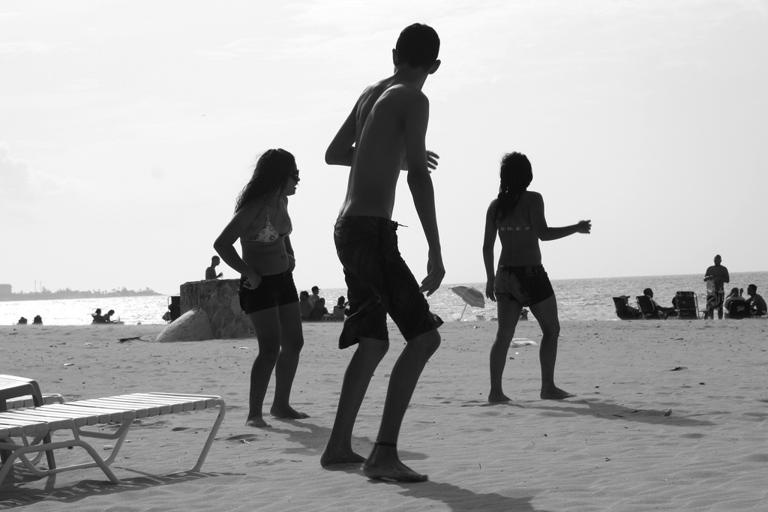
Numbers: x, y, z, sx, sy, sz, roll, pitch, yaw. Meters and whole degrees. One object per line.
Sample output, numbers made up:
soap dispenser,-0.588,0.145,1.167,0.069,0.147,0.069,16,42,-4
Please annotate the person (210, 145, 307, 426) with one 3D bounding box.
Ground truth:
person,-1.042,0.275,6.936,0.636,2.342,1.057,0,-6,3

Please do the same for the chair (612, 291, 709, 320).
chair,7.995,1.438,23.729,1.974,0.871,2.232,2,-6,-16

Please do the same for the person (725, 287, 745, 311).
person,9.474,1.159,21.931,0.426,0.738,3.210,-2,-6,23

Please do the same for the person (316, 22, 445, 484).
person,0.014,-0.047,5.390,0.764,3.057,0.856,1,-6,-4

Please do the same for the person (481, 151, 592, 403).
person,1.364,0.190,7.824,0.801,2.386,0.632,0,-6,7
